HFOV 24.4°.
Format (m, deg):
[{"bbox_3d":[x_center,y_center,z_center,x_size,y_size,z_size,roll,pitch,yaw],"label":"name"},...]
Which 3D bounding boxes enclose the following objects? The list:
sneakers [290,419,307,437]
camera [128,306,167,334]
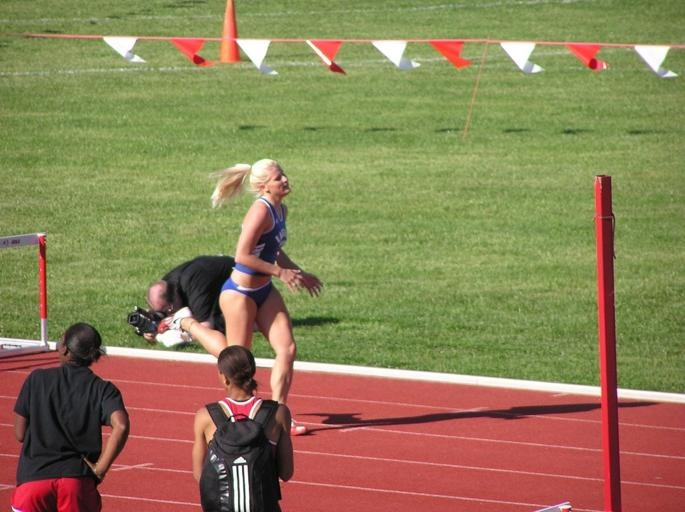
[{"bbox_3d":[-0.728,2.578,23.990,0.144,0.191,0.423,-2,0,-42],"label":"sneakers"},{"bbox_3d":[-3.193,1.044,25.273,0.546,0.286,0.361,15,23,30],"label":"camera"}]
